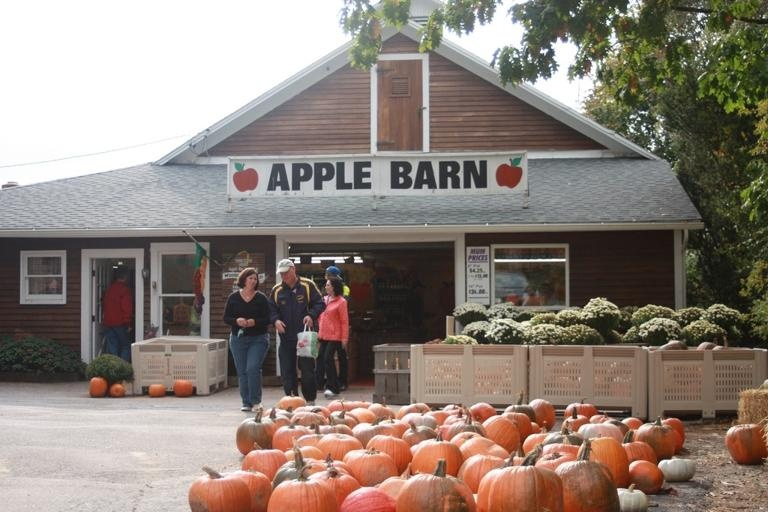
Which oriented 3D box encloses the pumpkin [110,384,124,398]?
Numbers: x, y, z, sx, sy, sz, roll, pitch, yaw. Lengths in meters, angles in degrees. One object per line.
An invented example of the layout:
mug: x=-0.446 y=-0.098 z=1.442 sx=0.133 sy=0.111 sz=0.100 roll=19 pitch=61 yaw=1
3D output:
pumpkin: x=-5.508 y=2.812 z=23.930 sx=0.304 sy=0.270 sz=0.303 roll=2 pitch=-8 yaw=-20

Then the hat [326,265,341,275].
hat: x=-1.085 y=0.355 z=24.387 sx=0.215 sy=0.248 sz=0.273 roll=16 pitch=11 yaw=43

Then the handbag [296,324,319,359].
handbag: x=-1.450 y=1.614 z=21.470 sx=0.531 sy=0.731 sz=0.288 roll=-4 pitch=-21 yaw=11

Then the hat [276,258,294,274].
hat: x=-1.829 y=0.197 z=21.712 sx=0.225 sy=0.184 sz=0.337 roll=-12 pitch=-4 yaw=15

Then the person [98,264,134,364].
person: x=-5.904 y=1.300 z=25.690 sx=0.590 sy=2.099 sz=0.510 roll=1 pitch=-7 yaw=-13

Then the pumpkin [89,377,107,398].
pumpkin: x=-5.811 y=2.723 z=23.700 sx=0.377 sy=0.420 sz=0.353 roll=3 pitch=-8 yaw=-25

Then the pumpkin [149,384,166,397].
pumpkin: x=-4.699 y=2.819 z=23.997 sx=0.248 sy=0.213 sz=0.253 roll=0 pitch=-1 yaw=-30

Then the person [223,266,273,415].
person: x=-2.571 y=1.588 z=21.696 sx=0.845 sy=2.677 sz=0.675 roll=2 pitch=-7 yaw=-19

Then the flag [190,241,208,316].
flag: x=-4.099 y=0.491 z=25.816 sx=0.304 sy=1.650 sz=0.390 roll=3 pitch=-7 yaw=-27

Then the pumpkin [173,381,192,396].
pumpkin: x=-4.140 y=2.769 z=23.891 sx=0.333 sy=0.323 sz=0.328 roll=3 pitch=4 yaw=-6

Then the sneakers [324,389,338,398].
sneakers: x=-1.106 y=2.838 z=23.558 sx=0.113 sy=0.150 sz=0.310 roll=-3 pitch=-23 yaw=9
